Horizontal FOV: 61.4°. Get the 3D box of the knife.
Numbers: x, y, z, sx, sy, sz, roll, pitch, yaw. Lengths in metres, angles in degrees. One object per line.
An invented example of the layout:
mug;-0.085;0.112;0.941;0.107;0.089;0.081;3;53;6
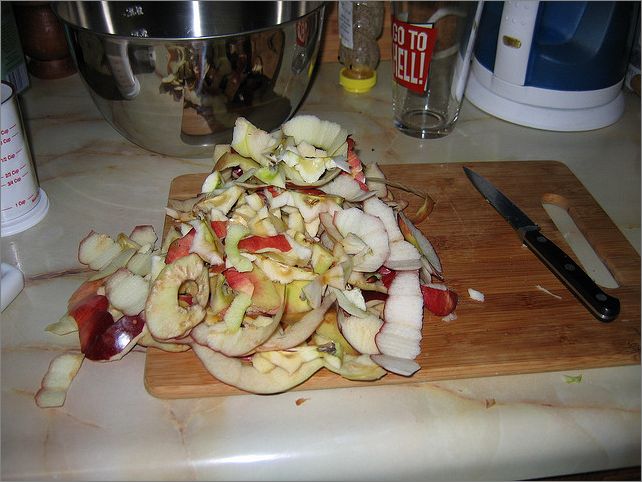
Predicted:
knife;0.361;-0.020;1.053;0.075;0.048;0.546;-15;43;-10
